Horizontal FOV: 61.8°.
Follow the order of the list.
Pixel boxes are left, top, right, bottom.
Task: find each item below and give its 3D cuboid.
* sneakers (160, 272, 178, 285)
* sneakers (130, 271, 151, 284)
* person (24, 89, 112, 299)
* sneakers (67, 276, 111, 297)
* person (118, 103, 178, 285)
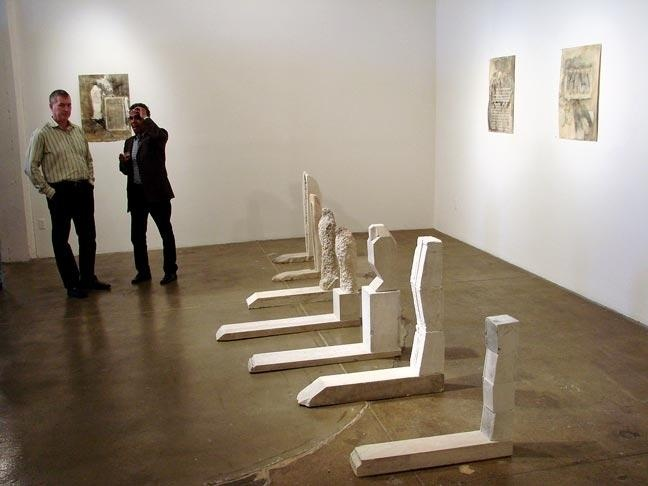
[{"bbox_3d":[-1.810,0.425,6.300,0.081,0.100,0.236,-1,2,13],"label":"sneakers"},{"bbox_3d":[-2.167,0.408,6.303,0.272,0.208,0.092,2,1,-34],"label":"sneakers"},{"bbox_3d":[-2.745,-0.515,5.775,0.686,2.166,0.471,-9,15,-32],"label":"person"},{"bbox_3d":[-2.553,0.469,5.980,0.485,0.226,0.165,-10,17,-37],"label":"sneakers"},{"bbox_3d":[-2.001,-0.554,6.161,0.552,2.010,0.425,-2,12,-2],"label":"person"}]
